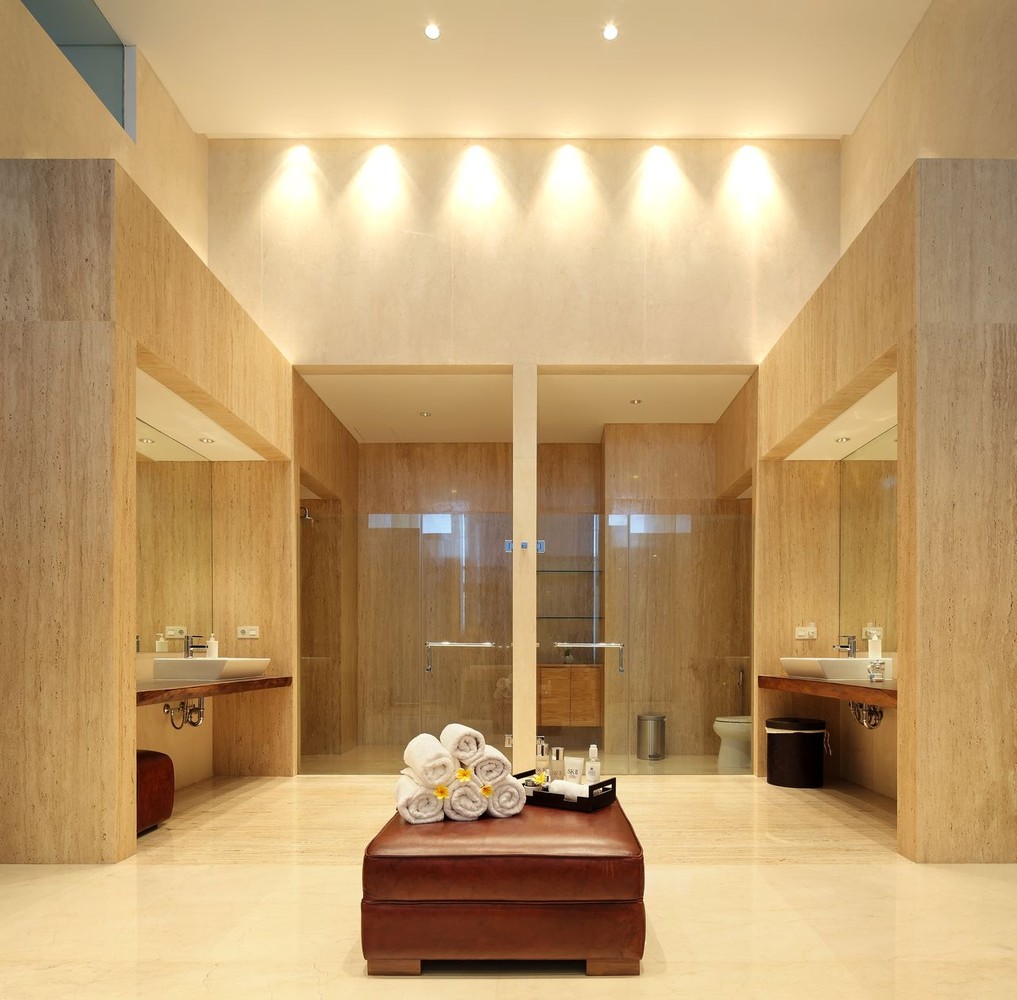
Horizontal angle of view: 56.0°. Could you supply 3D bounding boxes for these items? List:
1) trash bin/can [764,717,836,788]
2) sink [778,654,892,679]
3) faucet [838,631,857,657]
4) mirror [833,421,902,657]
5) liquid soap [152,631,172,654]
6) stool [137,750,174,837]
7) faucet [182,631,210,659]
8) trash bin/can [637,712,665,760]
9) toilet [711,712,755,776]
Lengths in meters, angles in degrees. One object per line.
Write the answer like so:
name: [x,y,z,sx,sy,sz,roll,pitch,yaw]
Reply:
trash bin/can: [1.845,1.558,6.027,0.333,0.393,0.373,0,-7,5]
sink: [1.963,0.998,5.744,0.462,0.168,1.048,-1,-11,0]
faucet: [2.199,0.929,6.177,0.107,0.177,0.087,1,-2,-10]
mirror: [2.170,0.216,5.736,0.373,1.332,1.208,0,-6,6]
liquid soap: [-2.101,0.862,5.813,0.026,0.120,0.115,-3,-10,20]
stool: [-1.695,1.371,4.513,0.130,0.369,0.333,-1,-9,4]
faucet: [-1.954,0.893,5.966,0.136,0.154,0.122,2,-8,-15]
trash bin/can: [0.973,1.591,6.463,0.224,0.289,0.233,-7,-11,39]
toilet: [1.515,1.622,6.419,0.270,0.313,0.310,5,-3,-45]
